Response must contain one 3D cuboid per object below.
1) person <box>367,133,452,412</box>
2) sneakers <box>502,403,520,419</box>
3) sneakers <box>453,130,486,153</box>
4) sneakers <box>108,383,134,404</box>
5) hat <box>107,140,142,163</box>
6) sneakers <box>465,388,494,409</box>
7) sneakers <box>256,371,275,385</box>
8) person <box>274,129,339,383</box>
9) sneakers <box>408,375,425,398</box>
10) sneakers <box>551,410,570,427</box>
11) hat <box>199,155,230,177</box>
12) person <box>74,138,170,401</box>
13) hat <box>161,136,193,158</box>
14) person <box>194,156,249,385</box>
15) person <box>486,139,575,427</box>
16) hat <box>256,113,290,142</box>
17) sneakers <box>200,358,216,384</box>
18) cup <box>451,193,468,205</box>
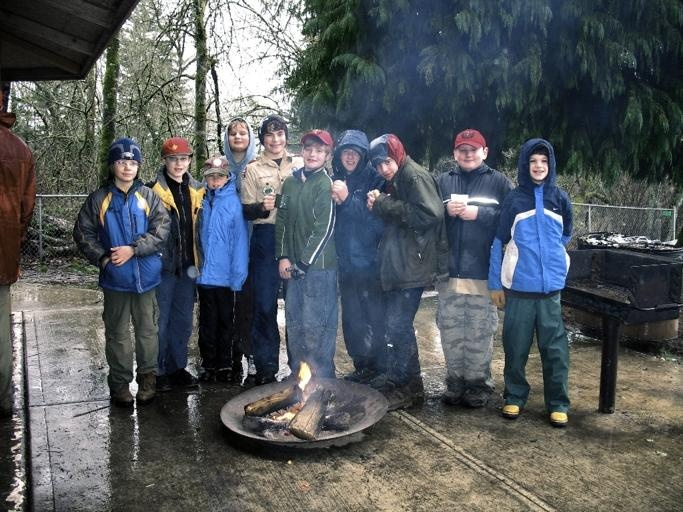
[{"bbox_3d":[0.609,0.118,5.500,0.786,2.465,0.737,2,13,12],"label":"person"},{"bbox_3d":[1.533,1.404,5.202,0.147,0.105,0.099,2,13,11],"label":"sneakers"},{"bbox_3d":[1.267,-1.157,5.585,0.236,0.202,0.342,-2,-5,25],"label":"sneakers"},{"bbox_3d":[-2.115,1.306,5.460,0.268,0.176,0.144,1,13,5],"label":"sneakers"},{"bbox_3d":[-2.071,-0.996,5.514,0.225,0.203,0.239,5,6,-14],"label":"hat"},{"bbox_3d":[1.284,1.330,5.411,0.205,0.081,0.160,-7,28,-6],"label":"sneakers"},{"bbox_3d":[-0.775,1.246,5.872,0.145,0.158,0.135,-7,-11,42],"label":"sneakers"},{"bbox_3d":[-0.369,0.017,5.680,0.653,2.437,0.667,3,13,14],"label":"person"},{"bbox_3d":[0.716,1.267,5.568,0.130,0.199,0.061,-1,-9,6],"label":"sneakers"},{"bbox_3d":[1.924,1.432,5.069,0.149,0.111,0.102,4,14,17],"label":"sneakers"},{"bbox_3d":[-1.304,-0.922,5.983,0.279,0.198,0.245,-5,14,-17],"label":"hat"},{"bbox_3d":[-2.080,0.116,5.550,0.716,2.440,0.738,7,14,30],"label":"person"},{"bbox_3d":[-1.702,-1.103,5.821,0.249,0.134,0.196,16,22,36],"label":"hat"},{"bbox_3d":[-1.244,0.146,5.992,0.572,2.265,0.483,-3,12,-11],"label":"person"},{"bbox_3d":[1.735,0.204,5.212,0.786,2.446,0.730,5,13,22],"label":"person"},{"bbox_3d":[-0.730,-1.329,6.078,0.251,0.270,0.277,1,2,-7],"label":"hat"},{"bbox_3d":[-1.415,1.225,6.051,0.153,0.243,0.239,0,-22,-2],"label":"sneakers"},{"bbox_3d":[1.120,-0.525,5.453,0.099,0.102,0.127,-2,-7,45],"label":"cup"}]
